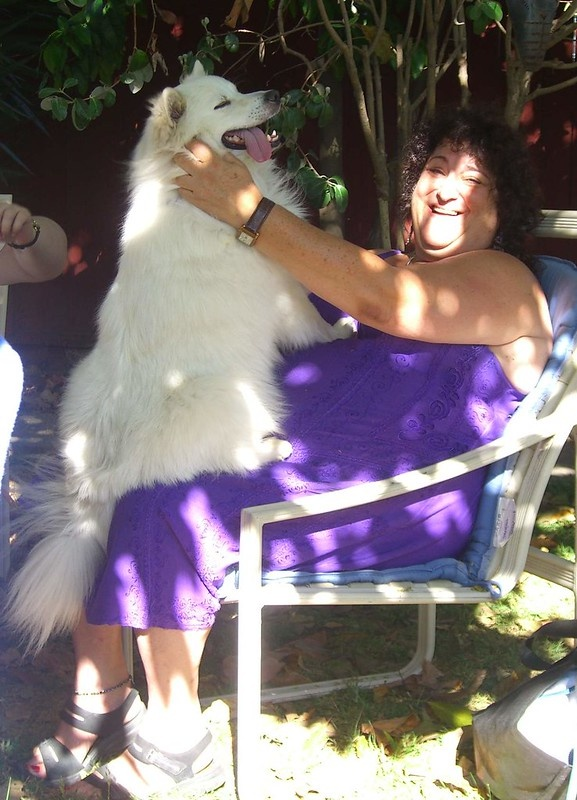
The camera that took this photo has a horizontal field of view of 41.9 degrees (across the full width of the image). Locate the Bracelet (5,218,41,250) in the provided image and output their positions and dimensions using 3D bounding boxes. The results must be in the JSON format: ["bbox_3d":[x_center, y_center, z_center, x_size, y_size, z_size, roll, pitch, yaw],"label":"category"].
[{"bbox_3d":[-0.760,-0.471,2.170,0.034,0.086,0.104,2,8,-38],"label":"Bracelet"}]

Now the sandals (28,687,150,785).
[{"bbox_3d":[-0.549,0.868,1.961,0.159,0.122,0.367,10,15,43],"label":"sandals"}]

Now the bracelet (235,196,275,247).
[{"bbox_3d":[-0.095,-0.453,1.916,0.073,0.114,0.142,-6,11,-27],"label":"bracelet"}]
